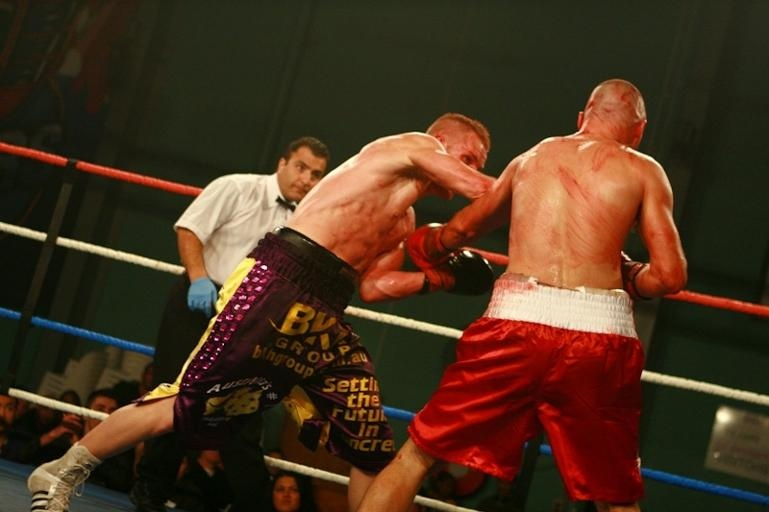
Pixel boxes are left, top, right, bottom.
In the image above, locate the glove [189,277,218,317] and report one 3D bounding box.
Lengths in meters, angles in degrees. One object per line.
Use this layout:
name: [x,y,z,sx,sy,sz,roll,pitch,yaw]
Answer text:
glove: [-0.998,0.220,3.950,0.157,0.206,0.089,2,15,6]
